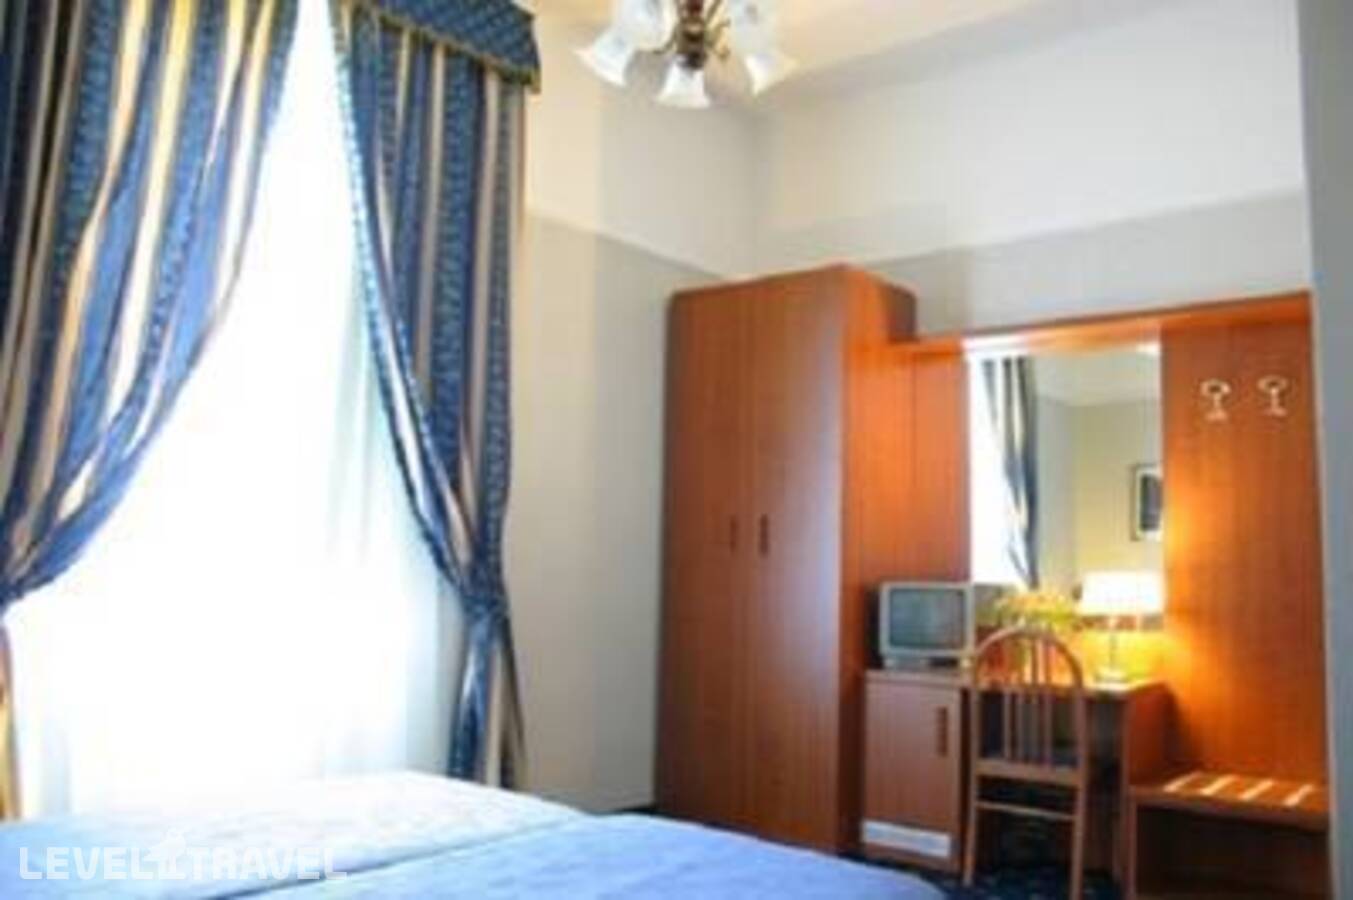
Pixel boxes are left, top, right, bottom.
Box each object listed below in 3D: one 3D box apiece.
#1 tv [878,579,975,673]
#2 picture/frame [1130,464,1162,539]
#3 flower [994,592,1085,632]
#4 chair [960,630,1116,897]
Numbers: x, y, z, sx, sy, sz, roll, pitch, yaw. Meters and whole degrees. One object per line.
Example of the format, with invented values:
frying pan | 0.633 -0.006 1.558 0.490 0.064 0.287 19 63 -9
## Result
tv | 1.216 0.849 5.235 0.602 0.592 0.372 0 -11 3
picture/frame | 2.267 0.245 4.910 0.148 0.358 0.082 4 5 27
flower | 1.821 0.800 5.110 0.228 0.144 0.224 5 -7 -24
chair | 1.730 1.376 4.791 0.666 1.217 0.976 4 5 23
